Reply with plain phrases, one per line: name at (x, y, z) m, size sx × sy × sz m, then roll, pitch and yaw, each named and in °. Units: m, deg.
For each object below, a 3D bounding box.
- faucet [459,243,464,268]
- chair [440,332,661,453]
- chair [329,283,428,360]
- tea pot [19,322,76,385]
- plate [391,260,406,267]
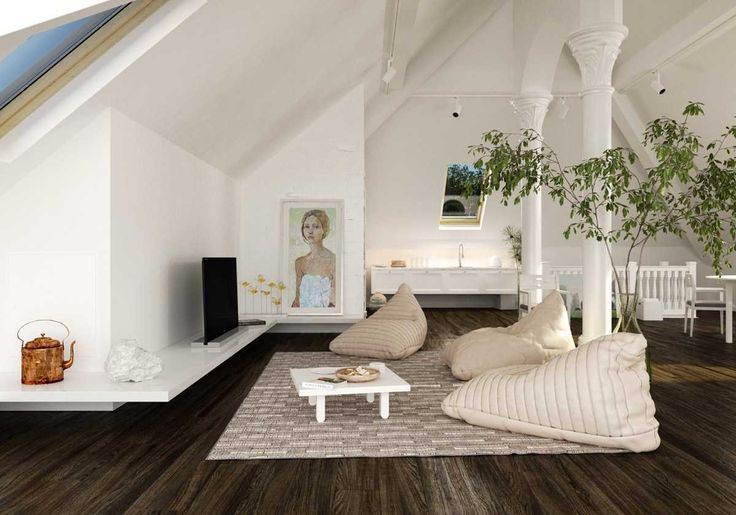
faucet at (2.031, -0.087, 10.676) m, size 0.143 × 0.473 × 0.204 m, roll 1°, pitch 6°, yaw 9°
chair at (1.271, 0.959, 3.387) m, size 1.168 × 0.480 × 0.753 m, roll -6°, pitch 3°, yaw 21°
chair at (0.290, 0.769, 5.750) m, size 0.647 × 0.400 × 0.928 m, roll -4°, pitch 16°, yaw 28°
tea pot at (-2.445, 0.693, 3.630) m, size 0.412 × 0.407 × 0.410 m, roll 0°, pitch 6°, yaw 0°
plate at (0.651, 0.127, 10.345) m, size 0.309 × 0.125 × 0.159 m, roll 0°, pitch 6°, yaw -2°
